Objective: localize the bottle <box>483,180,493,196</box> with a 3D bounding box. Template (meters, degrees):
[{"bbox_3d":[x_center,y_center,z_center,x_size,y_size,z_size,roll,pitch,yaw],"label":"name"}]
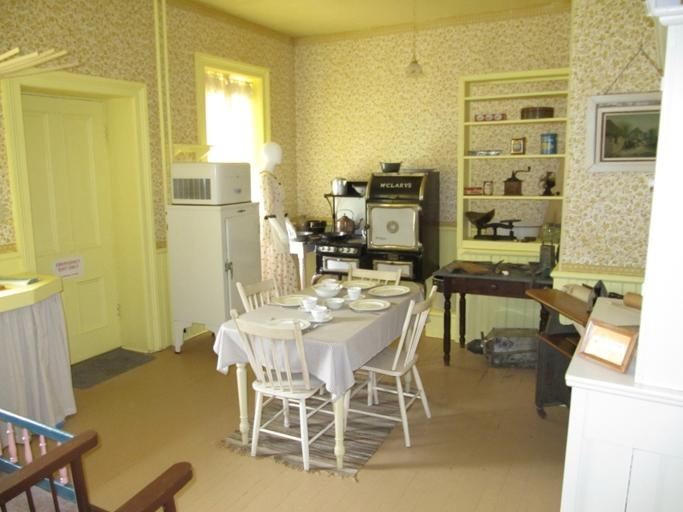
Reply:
[{"bbox_3d":[1.551,-0.703,5.322,0.102,0.126,0.302,2,12,15],"label":"bottle"}]

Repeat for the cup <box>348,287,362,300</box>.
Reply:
[{"bbox_3d":[0.103,0.297,3.857,0.104,0.074,0.101,0,-3,0],"label":"cup"}]

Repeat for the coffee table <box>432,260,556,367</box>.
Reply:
[{"bbox_3d":[1.507,0.554,4.828,0.959,0.769,0.595,2,9,26],"label":"coffee table"}]

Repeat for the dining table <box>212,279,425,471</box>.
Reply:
[{"bbox_3d":[-0.014,0.877,3.995,1.144,0.771,1.703,1,5,32],"label":"dining table"}]

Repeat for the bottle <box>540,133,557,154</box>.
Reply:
[{"bbox_3d":[2.021,-1.093,4.928,0.131,0.193,0.096,3,13,19],"label":"bottle"}]

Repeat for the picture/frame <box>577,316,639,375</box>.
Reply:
[{"bbox_3d":[1.194,0.403,2.275,0.225,0.165,0.226,5,13,28],"label":"picture/frame"}]

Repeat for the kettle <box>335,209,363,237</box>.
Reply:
[{"bbox_3d":[0.054,-0.404,6.459,0.398,0.317,0.538,2,12,15],"label":"kettle"}]

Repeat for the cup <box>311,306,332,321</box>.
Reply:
[{"bbox_3d":[-0.139,0.407,3.496,0.118,0.065,0.098,0,1,-14],"label":"cup"}]

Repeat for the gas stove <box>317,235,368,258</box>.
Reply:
[{"bbox_3d":[0.021,-0.120,6.160,0.592,0.237,0.325,4,12,21],"label":"gas stove"}]

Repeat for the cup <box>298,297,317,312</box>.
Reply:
[{"bbox_3d":[-0.241,0.353,3.617,0.119,0.075,0.099,-1,4,-31],"label":"cup"}]
